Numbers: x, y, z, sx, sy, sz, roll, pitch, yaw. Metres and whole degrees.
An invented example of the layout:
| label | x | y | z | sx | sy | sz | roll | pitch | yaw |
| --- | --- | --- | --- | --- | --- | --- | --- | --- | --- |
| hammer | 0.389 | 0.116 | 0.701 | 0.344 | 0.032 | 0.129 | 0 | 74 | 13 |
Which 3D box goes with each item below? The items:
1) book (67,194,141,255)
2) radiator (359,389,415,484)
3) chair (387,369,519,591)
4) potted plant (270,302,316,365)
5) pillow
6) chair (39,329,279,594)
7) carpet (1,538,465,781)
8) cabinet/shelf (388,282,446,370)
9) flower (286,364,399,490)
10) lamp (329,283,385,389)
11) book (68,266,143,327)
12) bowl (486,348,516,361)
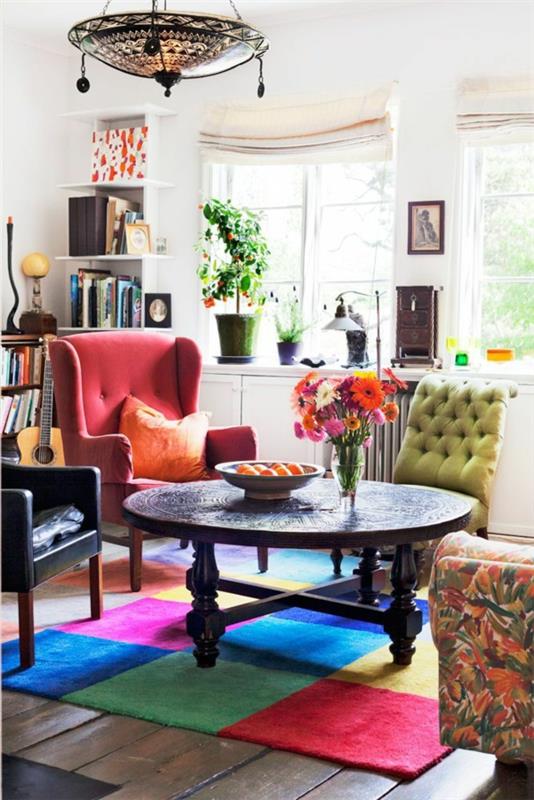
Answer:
| label | x | y | z | sx | sy | sz | roll | pitch | yaw |
| --- | --- | --- | --- | --- | --- | --- | --- | --- | --- |
| book | -1.215 | -1.294 | 4.867 | 0.535 | 0.450 | 0.235 | 1 | -1 | -11 |
| radiator | 0.775 | 0.224 | 4.172 | 0.508 | 0.567 | 0.122 | 6 | 2 | 30 |
| chair | 0.813 | 0.358 | 3.228 | 0.746 | 0.977 | 0.594 | 4 | 1 | -35 |
| potted plant | 0.167 | -0.496 | 4.656 | 0.236 | 0.504 | 0.262 | 1 | -1 | 1 |
| pillow | -0.550 | 0.199 | 3.459 | 0.524 | 0.513 | 0.279 | 3 | -5 | -25 |
| chair | -0.607 | 0.249 | 3.430 | 0.901 | 1.193 | 0.875 | -2 | 3 | -38 |
| carpet | -0.136 | 0.867 | 2.203 | 1.539 | 0.060 | 1.096 | 1 | -1 | 23 |
| cabinet/shelf | 0.966 | -0.478 | 4.223 | 0.315 | 0.534 | 0.245 | 6 | 13 | 33 |
| flower | 0.246 | 0.119 | 2.321 | 0.324 | 0.432 | 0.164 | 1 | -1 | 3 |
| lamp | 0.558 | -0.349 | 4.121 | 0.456 | 0.684 | 0.244 | -5 | 9 | -18 |
| book | -1.220 | -0.714 | 4.925 | 0.598 | 0.569 | 0.436 | -1 | 2 | -30 |
| bowl | 1.435 | -0.276 | 4.019 | 0.150 | 0.080 | 0.067 | 1 | -1 | 4 |
